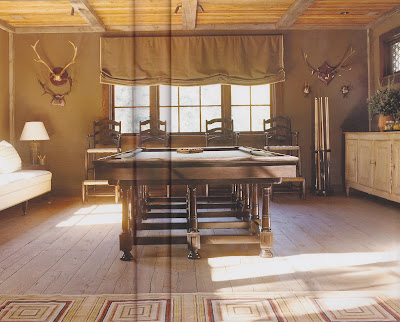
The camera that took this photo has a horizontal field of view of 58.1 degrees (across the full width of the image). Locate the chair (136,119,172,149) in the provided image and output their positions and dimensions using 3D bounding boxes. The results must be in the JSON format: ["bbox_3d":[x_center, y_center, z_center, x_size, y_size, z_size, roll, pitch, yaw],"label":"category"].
[{"bbox_3d":[-0.782,-0.448,5.938,0.514,0.647,0.445,-3,27,-13],"label":"chair"}]

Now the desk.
[{"bbox_3d":[-0.068,0.368,3.498,1.714,1.073,1.706,-2,12,-4],"label":"desk"}]

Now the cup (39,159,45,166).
[{"bbox_3d":[-2.524,0.027,5.796,0.109,0.113,0.100,1,2,0],"label":"cup"}]

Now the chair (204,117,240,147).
[{"bbox_3d":[0.348,-0.473,5.977,0.676,0.709,0.528,0,-3,-2],"label":"chair"}]
